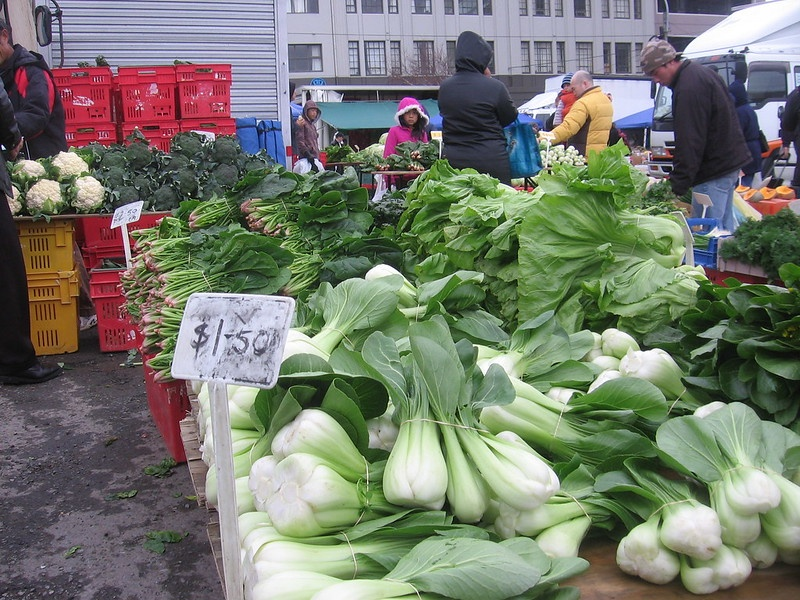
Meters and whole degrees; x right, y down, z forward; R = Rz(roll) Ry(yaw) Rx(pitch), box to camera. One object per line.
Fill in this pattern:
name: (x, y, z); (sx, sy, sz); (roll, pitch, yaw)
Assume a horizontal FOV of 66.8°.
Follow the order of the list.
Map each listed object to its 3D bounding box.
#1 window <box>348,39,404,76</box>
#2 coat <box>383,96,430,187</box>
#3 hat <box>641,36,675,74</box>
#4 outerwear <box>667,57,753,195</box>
window: (-1.784, -16.182, 40.728); (2.546, 1.728, 0.256); (-1, 14, -5)
coat: (0.135, -2.312, 9.912); (0.822, 1.806, 0.587); (-3, 12, -32)
hat: (2.465, -2.347, 5.827); (0.308, 0.334, 0.384); (-1, 11, 19)
outerwear: (2.907, -1.662, 5.813); (0.649, 1.155, 1.204); (-7, 10, 41)
